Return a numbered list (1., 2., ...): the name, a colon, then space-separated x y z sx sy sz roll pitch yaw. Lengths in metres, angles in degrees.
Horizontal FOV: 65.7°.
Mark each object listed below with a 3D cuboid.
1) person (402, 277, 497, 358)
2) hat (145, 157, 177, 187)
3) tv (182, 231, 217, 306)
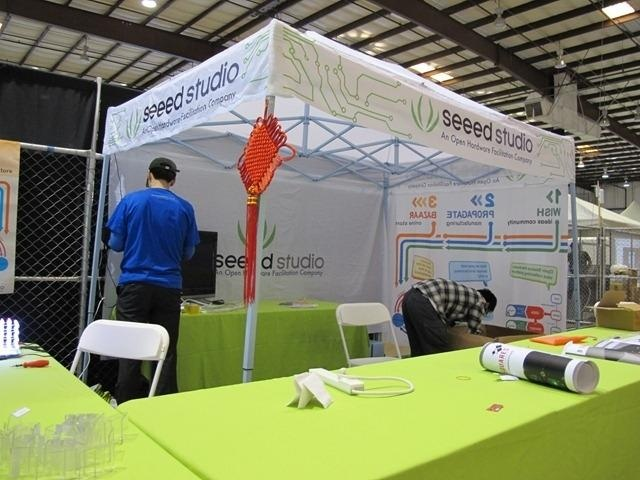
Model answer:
1. person: 1.077 0.687 3.979 0.743 0.742 0.449 -5 5 -3
2. hat: -1.152 -0.470 3.444 0.196 0.199 0.321 7 10 -12
3. tv: -1.032 0.248 4.197 0.057 0.569 0.569 4 8 29
